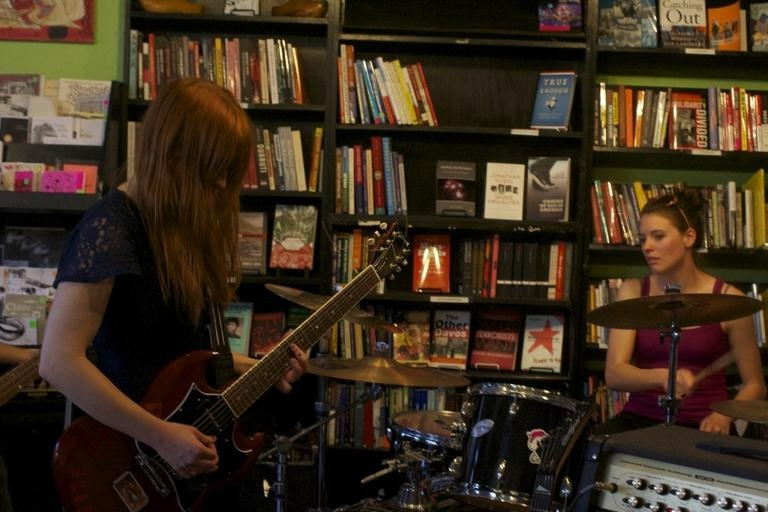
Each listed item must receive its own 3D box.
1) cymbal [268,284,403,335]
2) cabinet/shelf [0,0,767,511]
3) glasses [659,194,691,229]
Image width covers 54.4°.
[{"bbox_3d":[-0.228,0.227,3.307,0.378,0.040,0.346,22,-2,-9],"label":"cymbal"},{"bbox_3d":[0.179,-0.041,3.468,3.081,2.044,1.661,5,0,-21],"label":"cabinet/shelf"},{"bbox_3d":[1.405,-0.218,3.624,0.045,0.145,0.148,-12,29,-11],"label":"glasses"}]
